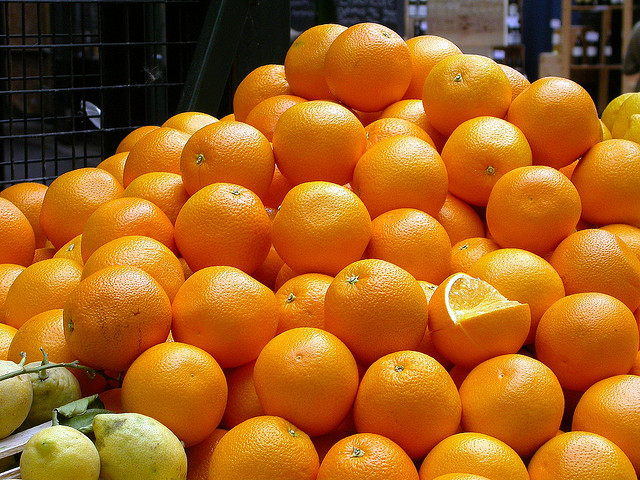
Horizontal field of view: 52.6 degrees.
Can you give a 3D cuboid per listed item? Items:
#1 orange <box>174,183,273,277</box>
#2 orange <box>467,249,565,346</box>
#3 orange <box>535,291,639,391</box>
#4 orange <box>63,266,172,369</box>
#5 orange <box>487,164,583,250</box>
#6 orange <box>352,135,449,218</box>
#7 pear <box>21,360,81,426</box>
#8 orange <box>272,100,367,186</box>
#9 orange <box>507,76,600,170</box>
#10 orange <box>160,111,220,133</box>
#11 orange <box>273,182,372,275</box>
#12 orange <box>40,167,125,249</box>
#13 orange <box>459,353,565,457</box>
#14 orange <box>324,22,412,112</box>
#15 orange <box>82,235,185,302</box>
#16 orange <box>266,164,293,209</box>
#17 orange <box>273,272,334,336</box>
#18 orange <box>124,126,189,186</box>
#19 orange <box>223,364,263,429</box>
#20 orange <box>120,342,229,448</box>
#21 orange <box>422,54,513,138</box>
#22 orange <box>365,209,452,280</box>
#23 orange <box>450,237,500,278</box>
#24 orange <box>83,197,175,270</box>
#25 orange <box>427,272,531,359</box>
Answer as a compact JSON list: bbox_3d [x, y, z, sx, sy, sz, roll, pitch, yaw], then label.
[{"bbox_3d":[-0.204,-0.027,1.329,0.160,0.214,0.175,1,29,-14],"label":"orange"},{"bbox_3d":[0.393,0.120,1.338,0.165,0.196,0.169,5,-2,7],"label":"orange"},{"bbox_3d":[0.500,0.182,1.235,0.160,0.185,0.203,3,-31,27],"label":"orange"},{"bbox_3d":[-0.354,0.139,1.143,0.166,0.184,0.175,8,43,-17],"label":"orange"},{"bbox_3d":[0.455,-0.058,1.434,0.164,0.185,0.165,-13,9,-12],"label":"orange"},{"bbox_3d":[0.169,-0.133,1.385,0.162,0.186,0.169,-6,27,-7],"label":"orange"},{"bbox_3d":[-0.477,0.254,1.187,0.095,0.133,0.099,-11,6,-29],"label":"pear"},{"bbox_3d":[-0.007,-0.209,1.405,0.169,0.184,0.180,-3,35,1],"label":"orange"},{"bbox_3d":[0.551,-0.277,1.561,0.202,0.239,0.210,2,2,8],"label":"orange"},{"bbox_3d":[-0.344,-0.302,1.689,0.100,0.060,0.099,-7,6,-38],"label":"orange"},{"bbox_3d":[0.006,-0.050,1.270,0.165,0.198,0.169,0,10,-5],"label":"orange"},{"bbox_3d":[-0.599,-0.052,1.606,0.171,0.237,0.189,-6,-16,-1],"label":"orange"},{"bbox_3d":[0.348,0.312,1.206,0.178,0.204,0.190,-4,-2,-38],"label":"orange"},{"bbox_3d":[0.124,-0.442,1.666,0.223,0.261,0.233,0,13,-11],"label":"orange"},{"bbox_3d":[-0.353,0.036,1.246,0.153,0.158,0.137,6,9,-20],"label":"orange"},{"bbox_3d":[-0.098,-0.126,1.517,0.066,0.097,0.073,2,-4,1],"label":"orange"},{"bbox_3d":[-0.028,0.134,1.298,0.103,0.109,0.103,20,23,-39],"label":"orange"},{"bbox_3d":[-0.389,-0.193,1.587,0.118,0.154,0.120,3,-22,-27],"label":"orange"},{"bbox_3d":[-0.143,0.297,1.256,0.085,0.126,0.094,-4,-2,0],"label":"orange"},{"bbox_3d":[-0.288,0.294,1.169,0.182,0.211,0.191,-4,-11,0],"label":"orange"},{"bbox_3d":[0.349,-0.345,1.520,0.174,0.200,0.175,-7,-14,10],"label":"orange"},{"bbox_3d":[0.187,0.012,1.381,0.135,0.154,0.140,0,6,-11],"label":"orange"},{"bbox_3d":[0.341,0.040,1.433,0.075,0.087,0.080,30,-33,-19],"label":"orange"},{"bbox_3d":[-0.408,0.004,1.349,0.136,0.161,0.143,-1,-3,-2],"label":"orange"},{"bbox_3d":[0.329,0.147,1.244,0.145,0.109,0.152,-46,16,-28],"label":"orange"}]
